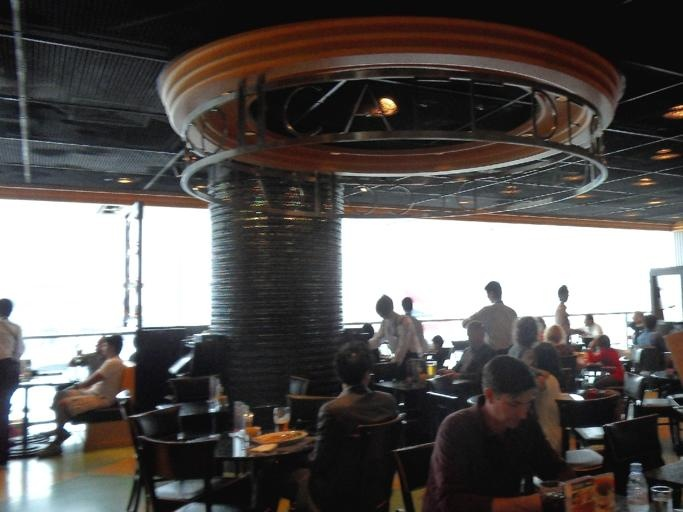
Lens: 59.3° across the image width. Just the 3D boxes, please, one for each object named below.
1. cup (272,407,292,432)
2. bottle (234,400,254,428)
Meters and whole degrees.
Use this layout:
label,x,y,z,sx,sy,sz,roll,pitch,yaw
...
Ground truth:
label,x,y,z,sx,sy,sz,roll,pitch,yaw
cup,-0.508,1.368,5.057,0.139,0.204,0.235,-3,-4,-7
bottle,-0.843,1.359,5.079,0.145,0.235,0.284,-3,-4,-13
